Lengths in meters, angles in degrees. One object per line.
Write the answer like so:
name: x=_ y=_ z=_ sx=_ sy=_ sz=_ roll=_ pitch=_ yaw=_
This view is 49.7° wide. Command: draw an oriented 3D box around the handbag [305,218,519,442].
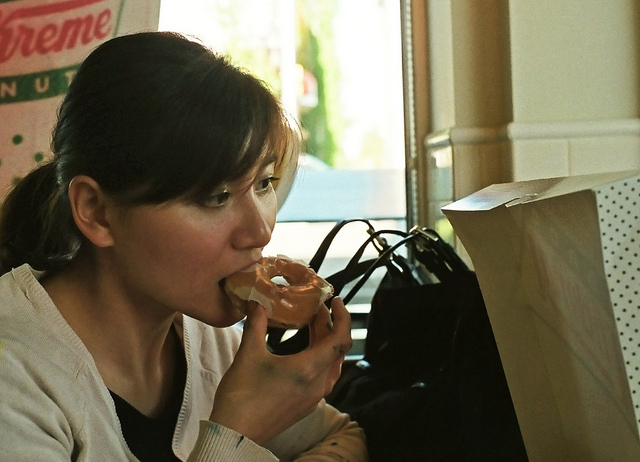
handbag: x=0.254 y=0.304 z=1.758 sx=0.404 sy=0.632 sz=0.613 roll=-9 pitch=2 yaw=-13

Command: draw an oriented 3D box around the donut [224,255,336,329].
donut: x=-0.092 y=0.116 z=1.443 sx=0.166 sy=0.065 sz=0.175 roll=9 pitch=35 yaw=-19
